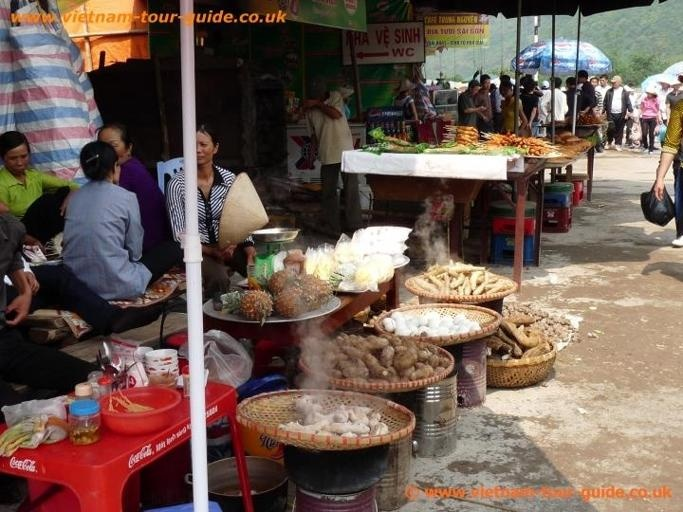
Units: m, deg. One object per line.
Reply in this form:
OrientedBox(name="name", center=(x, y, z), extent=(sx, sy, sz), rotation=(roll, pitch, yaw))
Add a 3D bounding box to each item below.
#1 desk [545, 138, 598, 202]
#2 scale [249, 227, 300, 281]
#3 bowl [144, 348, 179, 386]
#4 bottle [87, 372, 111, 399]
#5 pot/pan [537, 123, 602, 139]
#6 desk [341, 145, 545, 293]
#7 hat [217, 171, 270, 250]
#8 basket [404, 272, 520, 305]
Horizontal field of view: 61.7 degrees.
OrientedBox(name="desk", center=(4.424, -1.624, 10.986), extent=(0.721, 0.558, 2.706), rotation=(2, 11, 16))
OrientedBox(name="scale", center=(-0.513, 0.004, 4.295), extent=(0.369, 0.343, 0.337), rotation=(4, -22, 10))
OrientedBox(name="bowl", center=(-0.904, 0.545, 2.877), extent=(0.205, 0.149, 0.182), rotation=(0, -1, 20))
OrientedBox(name="bottle", center=(-1.150, 0.616, 2.762), extent=(0.133, 0.108, 0.113), rotation=(2, 3, 1))
OrientedBox(name="pot/pan", center=(4.788, -2.605, 11.648), extent=(1.482, 0.225, 1.315), rotation=(1, 3, 12))
OrientedBox(name="desk", center=(1.395, -0.627, 7.637), extent=(2.335, 1.278, 2.240), rotation=(2, 12, 9))
OrientedBox(name="hat", center=(-0.763, -0.337, 4.361), extent=(0.377, 0.576, 0.257), rotation=(-5, 16, -11))
OrientedBox(name="basket", center=(1.011, 0.322, 4.914), extent=(0.927, 0.158, 0.510), rotation=(2, 13, 12))
